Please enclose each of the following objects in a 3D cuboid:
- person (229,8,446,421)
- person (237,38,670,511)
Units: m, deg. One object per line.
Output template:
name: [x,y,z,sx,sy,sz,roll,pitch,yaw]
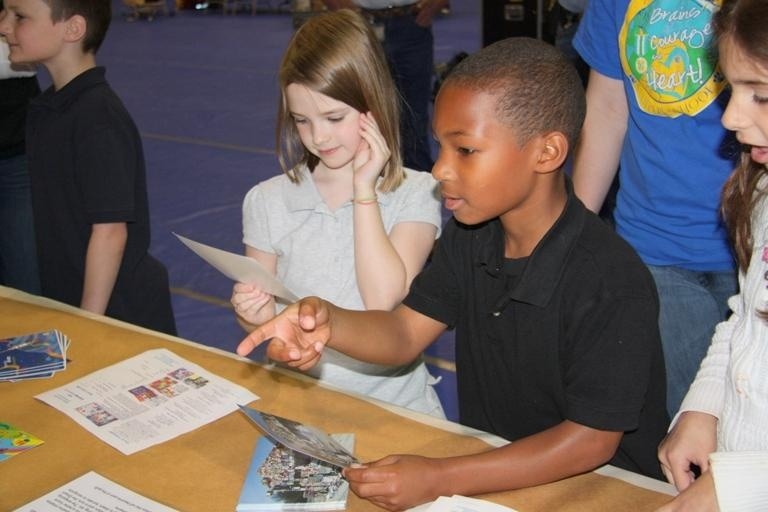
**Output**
person: [-0.138,0.107,2.518,0.765,1.765,0.706,-1,18,4]
person: [0.217,0.050,1.717,0.844,1.049,0.659,-13,27,-22]
